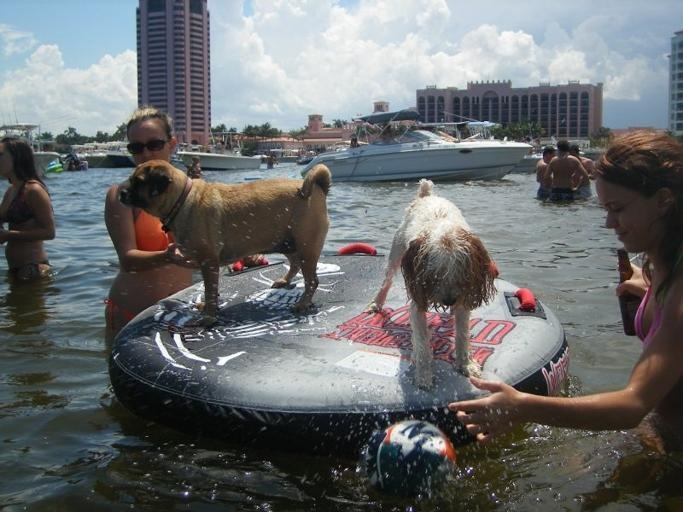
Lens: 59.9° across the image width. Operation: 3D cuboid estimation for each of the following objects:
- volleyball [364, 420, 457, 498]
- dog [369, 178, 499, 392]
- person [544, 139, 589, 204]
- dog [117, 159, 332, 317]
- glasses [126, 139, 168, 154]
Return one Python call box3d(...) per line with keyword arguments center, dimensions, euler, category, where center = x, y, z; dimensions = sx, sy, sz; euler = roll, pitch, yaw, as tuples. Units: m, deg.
box3d(center=(0.380, 1.130, 3.352), dimensions=(0.512, 0.345, 0.238), euler=(-1, 9, 3), category="volleyball")
box3d(center=(0.623, 0.130, 3.667), dimensions=(0.774, 1.218, 0.877), euler=(9, 15, 7), category="dog")
box3d(center=(5.518, -2.076, 14.611), dimensions=(1.008, 1.505, 0.940), euler=(5, 12, 29), category="person")
box3d(center=(-0.894, -0.165, 4.649), dimensions=(1.667, 1.080, 0.520), euler=(-4, 13, -20), category="dog")
box3d(center=(-1.561, -0.863, 4.728), dimensions=(0.309, 0.114, 0.175), euler=(-4, 8, -16), category="glasses")
